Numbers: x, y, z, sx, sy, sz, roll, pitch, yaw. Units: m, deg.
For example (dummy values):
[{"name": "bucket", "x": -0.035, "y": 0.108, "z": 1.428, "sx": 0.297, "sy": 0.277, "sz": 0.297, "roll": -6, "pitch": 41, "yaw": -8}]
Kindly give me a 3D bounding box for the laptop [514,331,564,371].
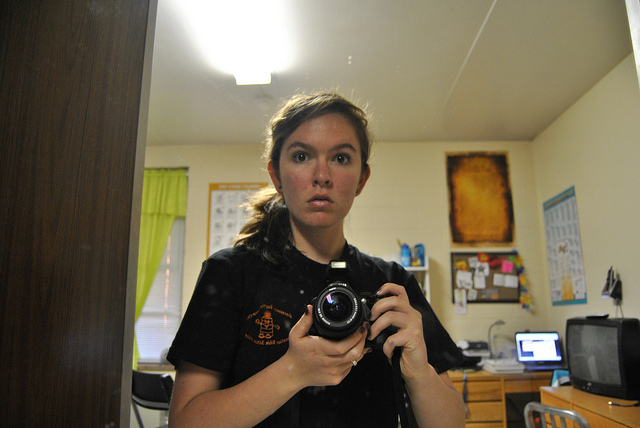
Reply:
[{"name": "laptop", "x": 0.787, "y": 0.499, "z": 1.642, "sx": 0.136, "sy": 0.107, "sz": 0.170, "roll": -5, "pitch": -8, "yaw": -44}]
